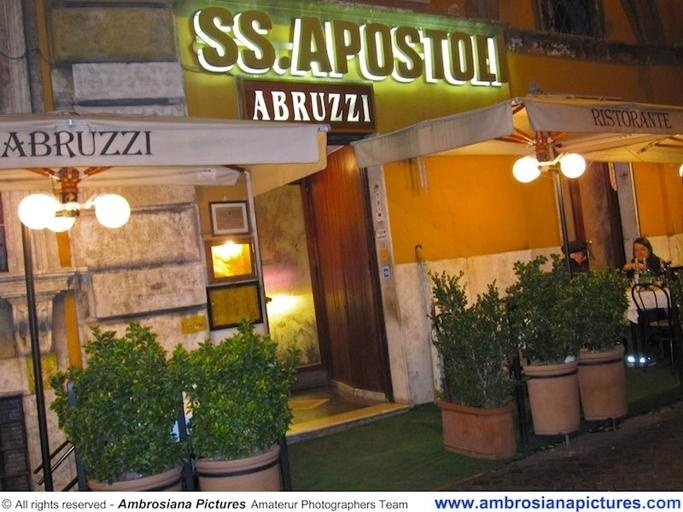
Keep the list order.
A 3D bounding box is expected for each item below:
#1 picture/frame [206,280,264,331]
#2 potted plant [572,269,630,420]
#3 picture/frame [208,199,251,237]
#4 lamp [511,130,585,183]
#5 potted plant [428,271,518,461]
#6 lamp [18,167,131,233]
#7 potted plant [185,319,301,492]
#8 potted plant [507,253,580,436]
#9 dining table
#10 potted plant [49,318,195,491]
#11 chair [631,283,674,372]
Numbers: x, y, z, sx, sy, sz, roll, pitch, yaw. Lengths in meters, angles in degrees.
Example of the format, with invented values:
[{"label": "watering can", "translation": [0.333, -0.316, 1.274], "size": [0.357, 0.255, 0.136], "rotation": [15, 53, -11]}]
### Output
[{"label": "picture/frame", "translation": [-1.240, 0.564, 7.208], "size": [0.624, 0.527, 0.045], "rotation": [-6, -1, -37]}, {"label": "potted plant", "translation": [2.631, 0.960, 6.549], "size": [0.761, 1.378, 0.333], "rotation": [-6, 1, -27]}, {"label": "picture/frame", "translation": [-1.337, -0.444, 7.464], "size": [0.427, 0.367, 0.043], "rotation": [-5, -3, -40]}, {"label": "lamp", "translation": [2.384, -1.173, 7.452], "size": [0.747, 0.502, 0.961], "rotation": [-5, 2, 14]}, {"label": "potted plant", "translation": [1.296, 1.051, 6.261], "size": [0.781, 1.665, 0.546], "rotation": [-5, 1, 14]}, {"label": "lamp", "translation": [-2.406, -0.447, 5.536], "size": [0.781, 0.559, 0.736], "rotation": [1, 4, 23]}, {"label": "potted plant", "translation": [-0.732, 1.173, 5.103], "size": [1.032, 1.766, 1.083], "rotation": [0, -7, -7]}, {"label": "potted plant", "translation": [2.051, 0.934, 6.388], "size": [0.657, 1.627, 0.554], "rotation": [-5, 1, 19]}, {"label": "dining table", "translation": [4.392, 0.937, 8.795], "size": [0.562, 1.045, 0.676], "rotation": [-4, -4, 35]}, {"label": "potted plant", "translation": [-1.614, 1.113, 4.636], "size": [0.907, 1.259, 0.463], "rotation": [-6, 1, -10]}, {"label": "chair", "translation": [4.191, 0.945, 8.715], "size": [0.598, 1.003, 0.594], "rotation": [-5, 2, 25]}]
